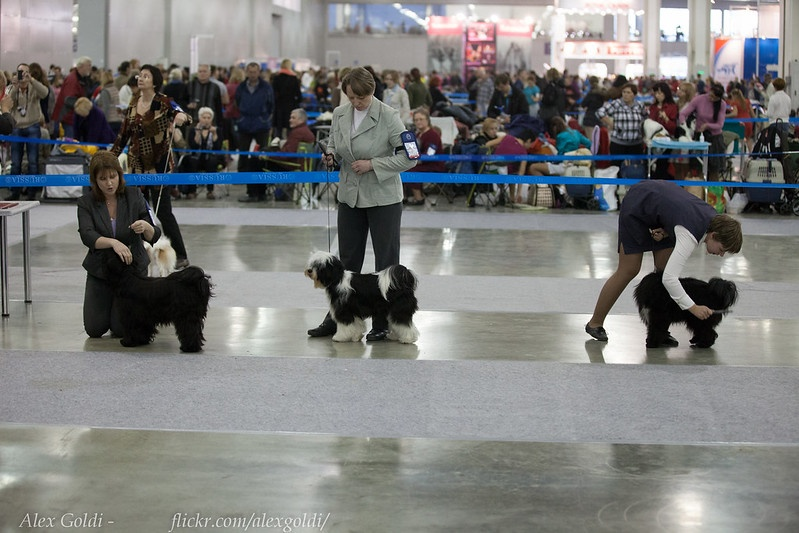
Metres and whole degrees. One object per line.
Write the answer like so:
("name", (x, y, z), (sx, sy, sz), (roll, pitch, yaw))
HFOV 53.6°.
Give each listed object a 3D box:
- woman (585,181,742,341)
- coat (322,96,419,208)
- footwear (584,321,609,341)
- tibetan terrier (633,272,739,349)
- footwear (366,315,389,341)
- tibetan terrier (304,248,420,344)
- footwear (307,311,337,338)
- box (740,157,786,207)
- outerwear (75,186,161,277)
("woman", (1.984, -0.004, 5.959), (1.091, 1.103, 0.836), (9, 13, 28))
("coat", (-0.222, -0.869, 6.110), (0.725, 0.829, 0.328), (2, 15, 4))
("footwear", (1.546, 0.503, 6.240), (0.090, 0.073, 0.192), (-19, 28, -36))
("tibetan terrier", (2.171, 0.336, 6.039), (0.830, 0.527, 0.406), (2, -3, -4))
("footwear", (-0.166, 0.483, 6.136), (0.258, 0.225, 0.121), (1, -3, -9))
("tibetan terrier", (-0.315, 0.234, 6.031), (0.886, 0.617, 0.417), (4, 4, -17))
("footwear", (-0.652, 0.471, 6.193), (0.319, 0.207, 0.118), (-1, 0, 2))
("box", (5.890, -1.387, 12.824), (0.646, 0.652, 0.980), (0, 5, 12))
("outerwear", (-2.177, -0.243, 6.150), (0.576, 0.728, 0.484), (-3, 30, -15))
